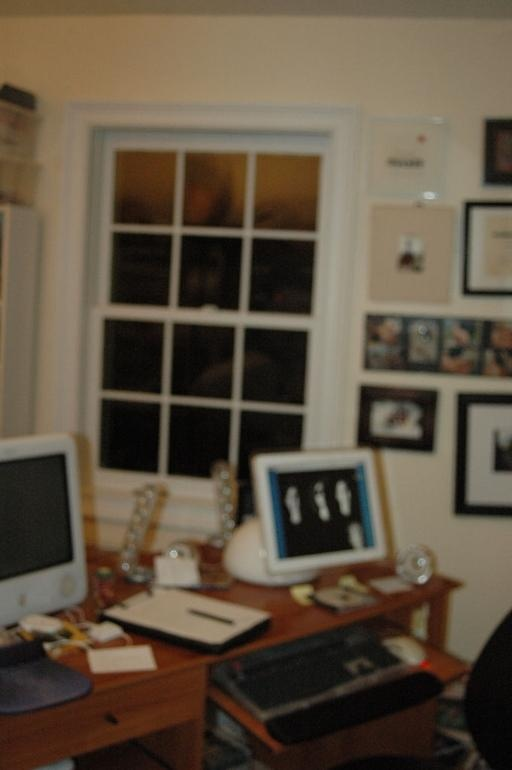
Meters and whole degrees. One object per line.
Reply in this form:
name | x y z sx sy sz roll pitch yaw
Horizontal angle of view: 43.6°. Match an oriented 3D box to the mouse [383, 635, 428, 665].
mouse | 0.343 0.599 1.457 0.053 0.012 0.046 19 7 42
